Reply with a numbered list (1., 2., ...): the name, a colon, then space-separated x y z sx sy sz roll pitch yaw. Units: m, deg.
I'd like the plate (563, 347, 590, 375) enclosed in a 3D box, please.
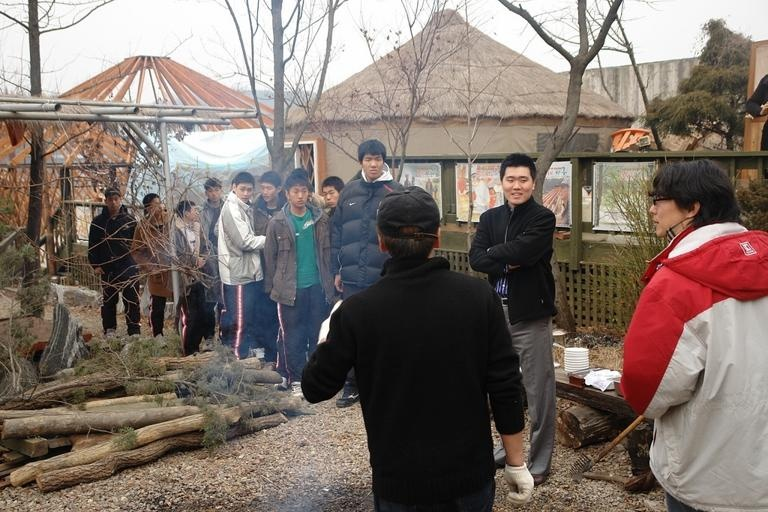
1. plate: 1.793 0.989 5.413 0.222 0.230 0.222 4 -5 -44
